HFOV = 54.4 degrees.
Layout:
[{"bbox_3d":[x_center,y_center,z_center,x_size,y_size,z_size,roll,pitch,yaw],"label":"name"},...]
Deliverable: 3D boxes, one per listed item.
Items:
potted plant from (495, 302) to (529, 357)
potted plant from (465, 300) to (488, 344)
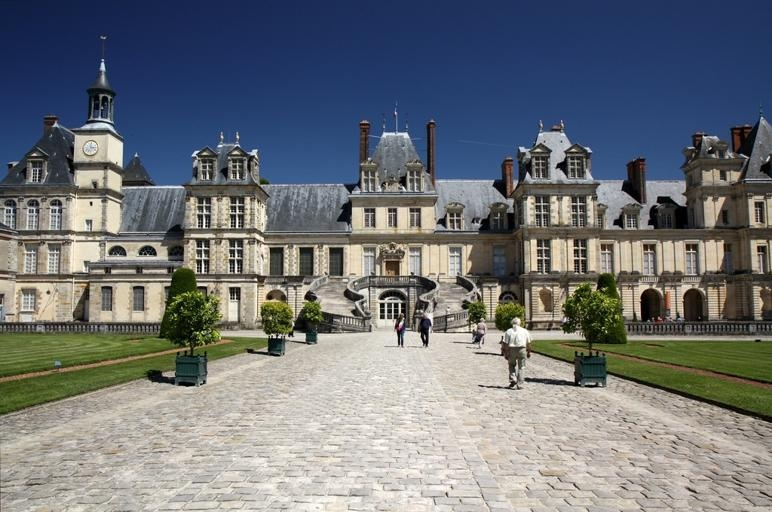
[{"bbox_3d":[7.422,3.875,43.262,2.173,2.734,2.360,0,-1,-1],"label":"potted plant"},{"bbox_3d":[5.967,3.780,46.778,0.993,1.814,0.982,-4,10,-37],"label":"potted plant"}]
